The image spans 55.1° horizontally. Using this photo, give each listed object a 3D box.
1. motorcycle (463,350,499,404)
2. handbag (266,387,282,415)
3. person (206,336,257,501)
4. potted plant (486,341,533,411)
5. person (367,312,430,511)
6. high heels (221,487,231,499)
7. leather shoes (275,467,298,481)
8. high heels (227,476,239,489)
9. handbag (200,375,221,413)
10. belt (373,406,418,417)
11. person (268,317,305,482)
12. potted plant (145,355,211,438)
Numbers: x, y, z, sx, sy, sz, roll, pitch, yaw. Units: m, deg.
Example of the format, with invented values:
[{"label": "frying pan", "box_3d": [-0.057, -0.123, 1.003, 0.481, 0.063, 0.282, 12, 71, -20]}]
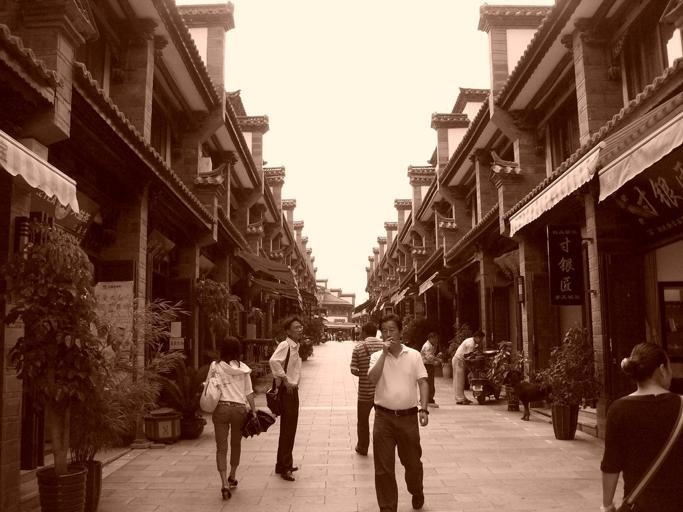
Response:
[{"label": "motorcycle", "box_3d": [3.511, 2.984, 16.204, 0.720, 0.907, 1.360, -1, -9, 17]}, {"label": "handbag", "box_3d": [-0.939, 2.047, 9.180, 0.256, 0.566, 0.361, 0, -12, -7]}, {"label": "person", "box_3d": [-1.441, 2.084, 8.598, 0.510, 2.057, 0.565, -9, -16, 35]}, {"label": "potted plant", "box_3d": [3.814, 2.706, 14.847, 0.915, 2.061, 3.681, -2, -16, 12]}, {"label": "person", "box_3d": [0.675, 1.799, 7.625, 0.755, 2.233, 0.417, 7, -14, -27]}, {"label": "high heels", "box_3d": [-1.421, 2.927, 8.069, 0.062, 0.074, 0.186, 1, -59, -5]}, {"label": "leather shoes", "box_3d": [-0.743, 2.982, 8.960, 0.319, 0.158, 0.120, -8, -10, 44]}, {"label": "high heels", "box_3d": [-1.408, 2.933, 8.458, 0.088, 0.118, 0.274, 0, -20, 0]}, {"label": "handbag", "box_3d": [-1.735, 1.819, 8.590, 0.224, 0.449, 0.335, 8, -16, -30]}, {"label": "belt", "box_3d": [0.649, 1.805, 7.633, 0.493, 0.130, 0.226, 0, -15, 1]}, {"label": "person", "box_3d": [-0.802, 1.985, 9.374, 0.413, 2.303, 1.085, 1, -13, -4]}, {"label": "potted plant", "box_3d": [-3.075, 2.505, 11.592, 1.139, 1.392, 1.181, 0, -5, 16]}]
